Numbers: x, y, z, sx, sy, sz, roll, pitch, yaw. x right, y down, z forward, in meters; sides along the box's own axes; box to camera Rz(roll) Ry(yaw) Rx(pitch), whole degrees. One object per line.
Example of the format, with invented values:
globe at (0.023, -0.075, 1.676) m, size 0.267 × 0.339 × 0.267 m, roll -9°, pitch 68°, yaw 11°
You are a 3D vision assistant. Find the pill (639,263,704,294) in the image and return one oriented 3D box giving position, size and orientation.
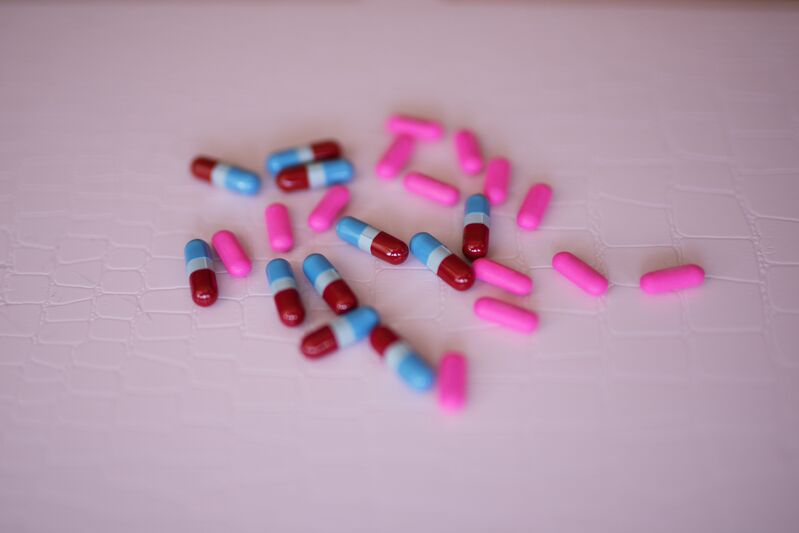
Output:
pill at (1.431, 0.072, 3.807) m, size 0.339 × 0.118 × 0.141 m, roll -8°, pitch 75°, yaw -5°
